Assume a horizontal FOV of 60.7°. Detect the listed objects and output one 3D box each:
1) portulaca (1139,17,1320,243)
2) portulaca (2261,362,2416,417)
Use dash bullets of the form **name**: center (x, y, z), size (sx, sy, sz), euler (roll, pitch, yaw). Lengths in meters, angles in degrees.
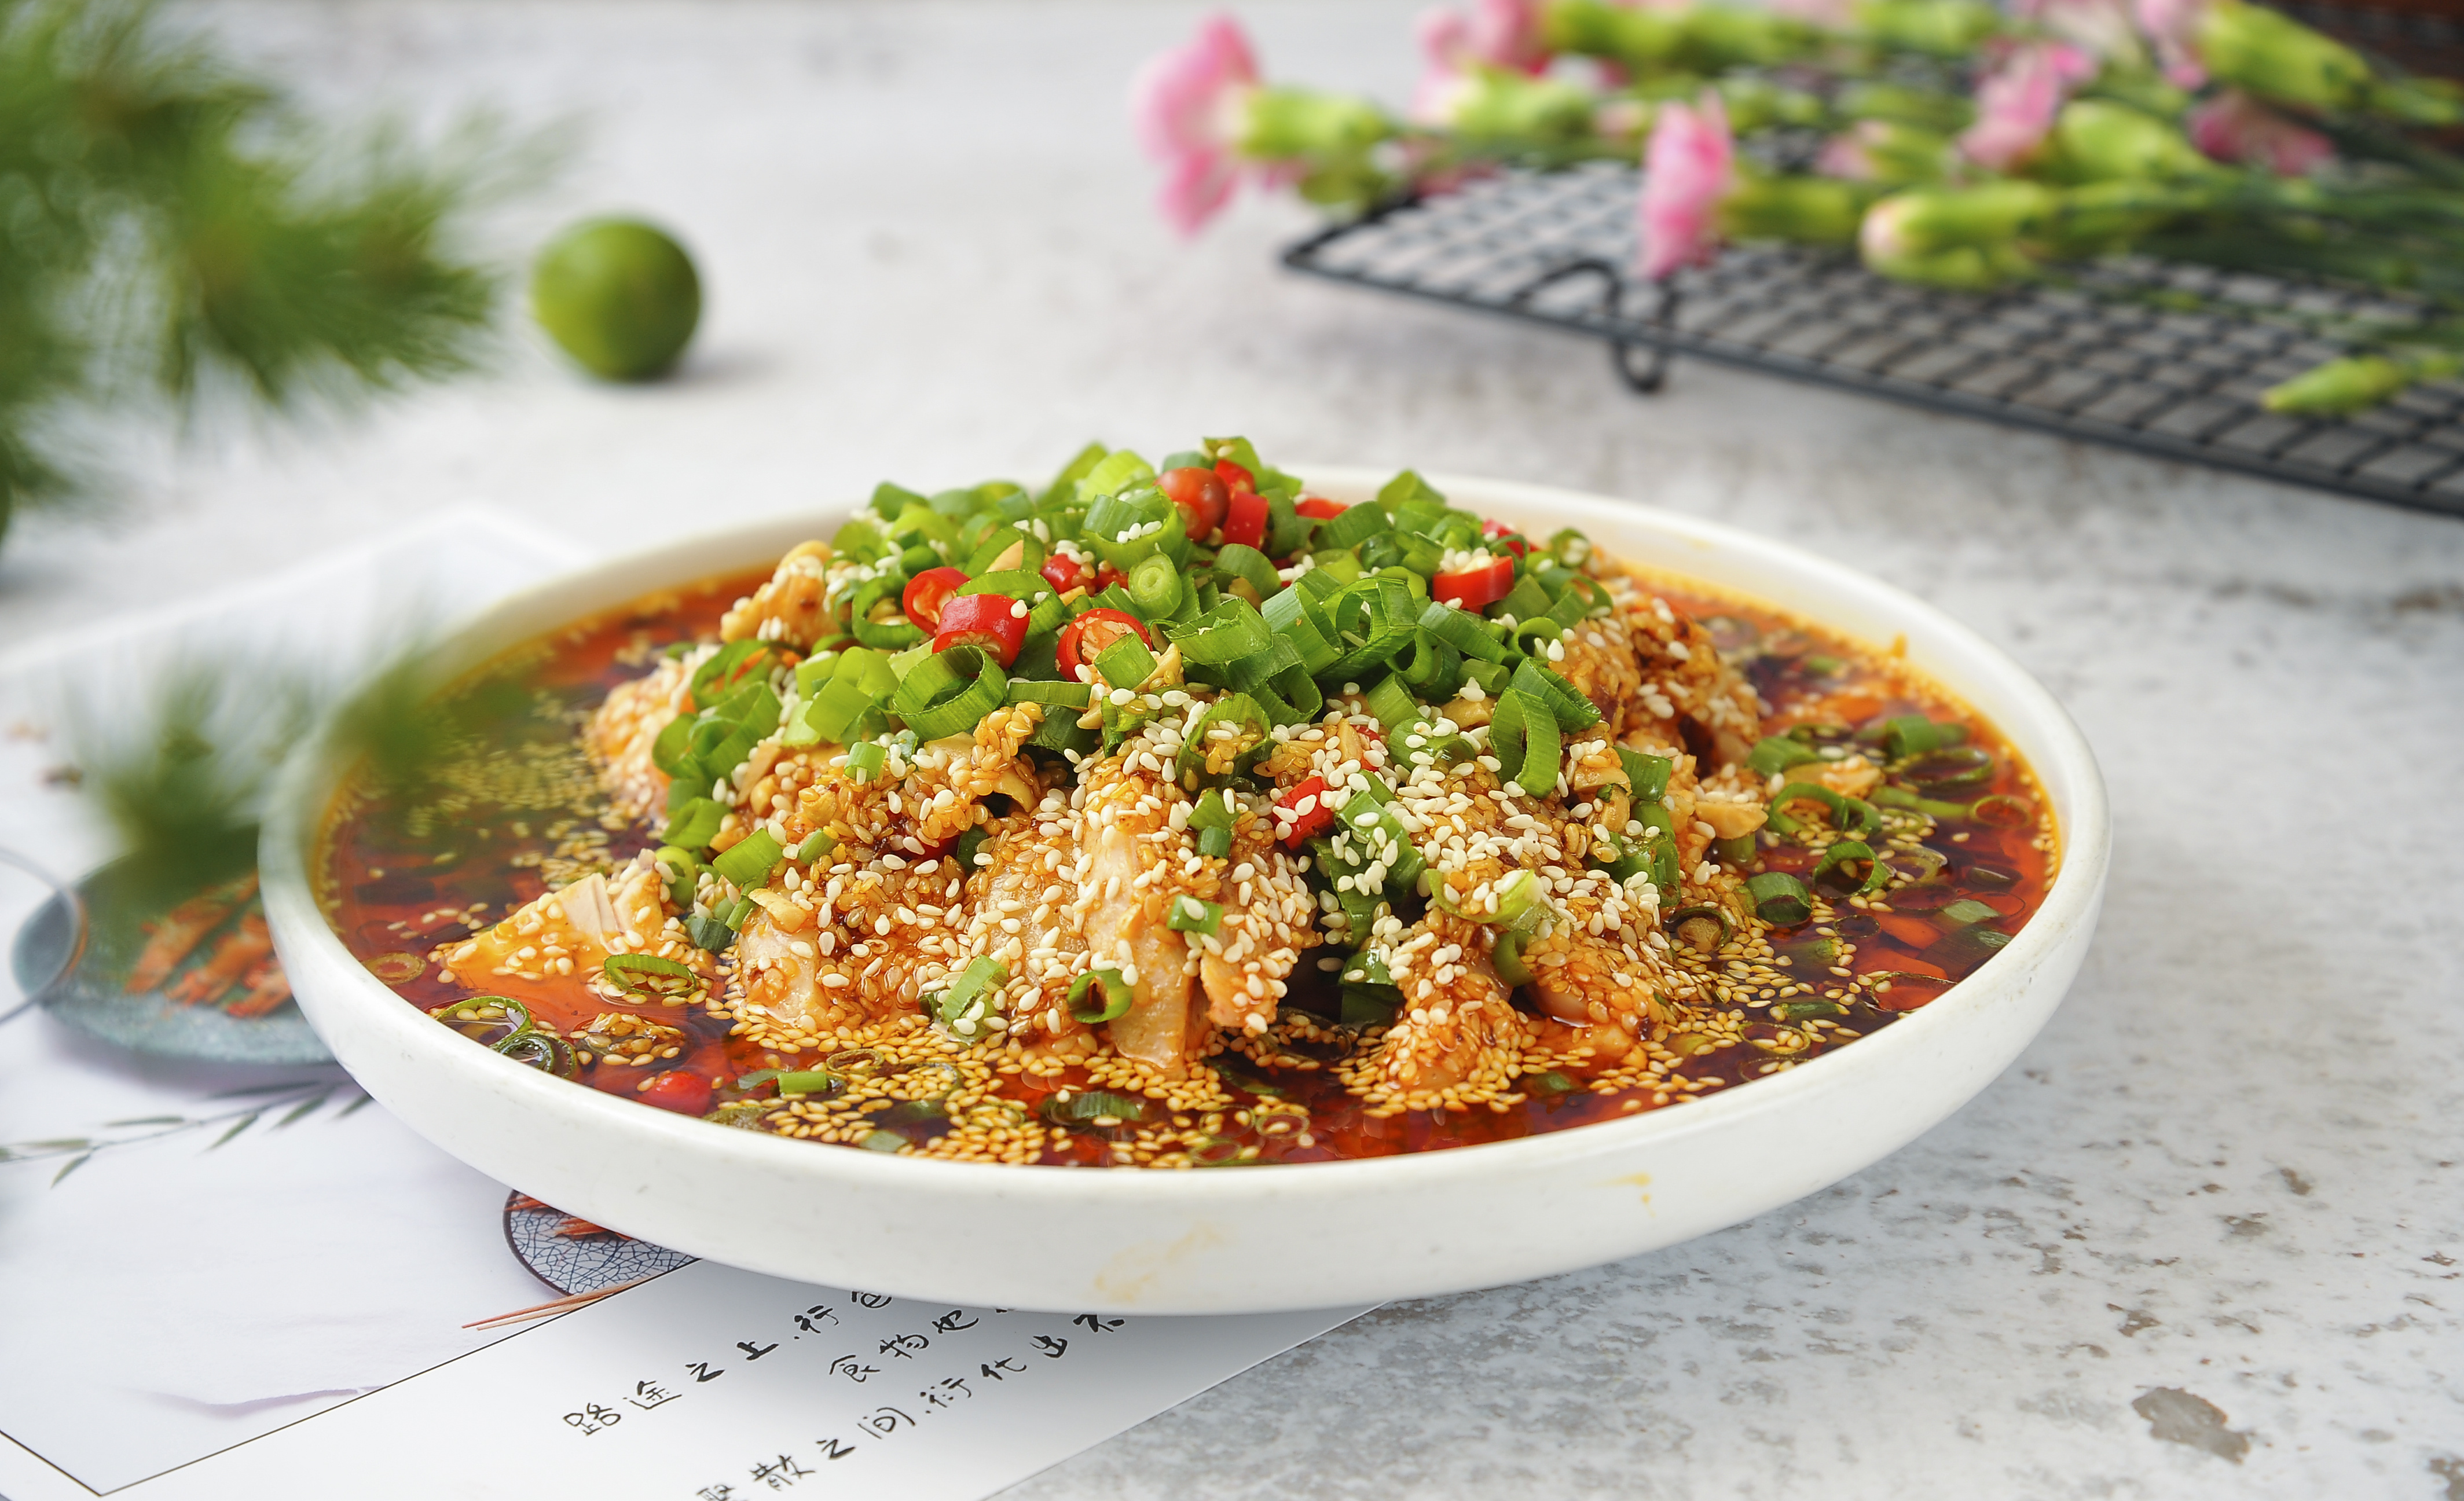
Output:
- **portulaca**: center (-0.034, -1.261, 4.288), size (0.390, 0.222, 0.464), euler (1, 90, -20)
- **portulaca**: center (1.886, -0.630, 3.595), size (0.223, 0.063, 0.113), euler (-12, 35, -9)
